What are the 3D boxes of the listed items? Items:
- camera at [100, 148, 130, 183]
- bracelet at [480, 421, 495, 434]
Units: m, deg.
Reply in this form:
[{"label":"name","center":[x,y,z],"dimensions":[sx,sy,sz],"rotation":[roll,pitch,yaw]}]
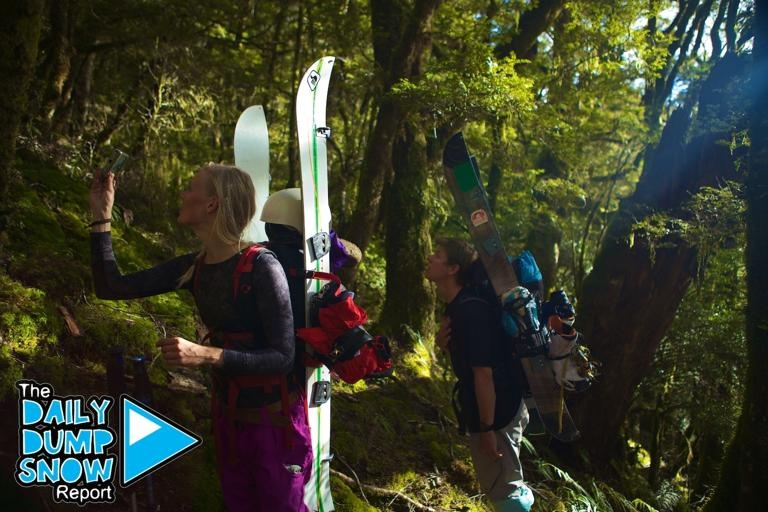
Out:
[{"label":"camera","center":[-2.615,-0.901,6.620],"dimensions":[0.202,0.353,0.101],"rotation":[6,8,-10]},{"label":"bracelet","center":[1.108,1.842,7.291],"dimensions":[0.100,0.079,0.104],"rotation":[3,0,13]}]
